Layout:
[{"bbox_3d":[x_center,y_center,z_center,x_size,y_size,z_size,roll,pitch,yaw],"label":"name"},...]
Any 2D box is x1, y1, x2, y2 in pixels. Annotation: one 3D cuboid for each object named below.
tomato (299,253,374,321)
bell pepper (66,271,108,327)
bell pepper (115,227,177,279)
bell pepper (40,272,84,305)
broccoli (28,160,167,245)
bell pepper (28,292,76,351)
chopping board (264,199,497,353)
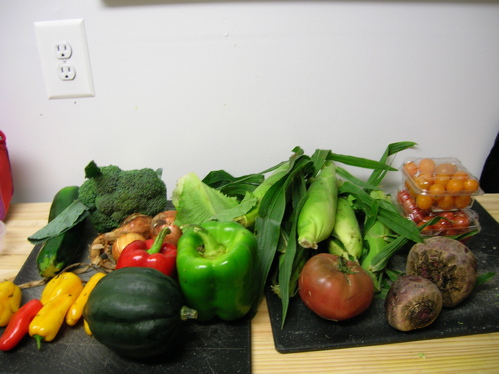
[{"bbox_3d":[0.200,0.238,0.874,0.168,0.138,0.114,3,25,14],"label":"tomato"},{"bbox_3d":[-0.368,0.257,0.840,0.039,0.036,0.129,-39,19,57],"label":"bell pepper"},{"bbox_3d":[-0.244,0.141,0.943,0.139,0.120,0.150,19,22,40],"label":"bell pepper"},{"bbox_3d":[-0.459,0.239,0.907,0.094,0.074,0.065,0,22,-2],"label":"bell pepper"},{"bbox_3d":[-0.421,0.017,1.093,0.293,0.127,0.212,9,26,28],"label":"broccoli"},{"bbox_3d":[-0.458,0.299,0.853,0.061,0.046,0.132,21,41,3],"label":"bell pepper"},{"bbox_3d":[0.409,0.247,0.995,0.757,0.080,0.360,-7,25,-8],"label":"chopping board"}]
